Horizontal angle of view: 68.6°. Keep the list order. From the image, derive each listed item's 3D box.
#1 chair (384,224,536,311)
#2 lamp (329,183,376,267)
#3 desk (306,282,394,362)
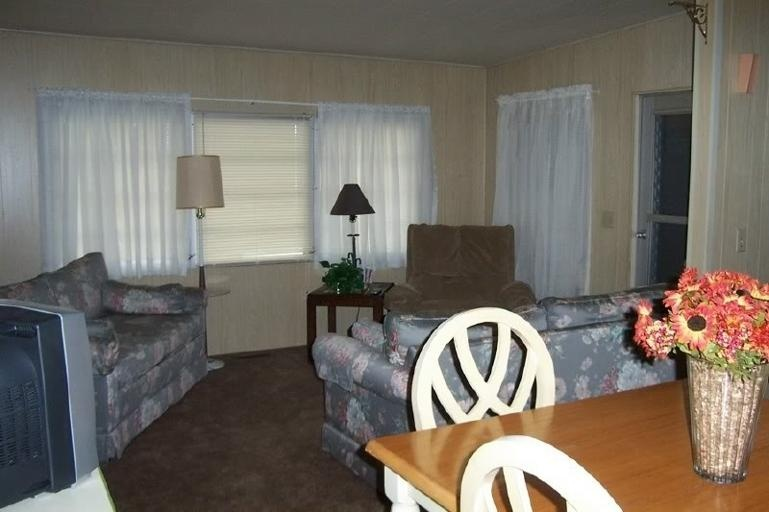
[{"bbox_3d":[0.765,0.136,5.722,1.059,1.333,0.987,0,-3,5],"label":"chair"},{"bbox_3d":[-0.331,-0.297,5.730,0.409,0.864,0.569,-2,10,-7],"label":"lamp"},{"bbox_3d":[-0.357,0.662,5.582,0.708,0.747,0.740,-1,1,3],"label":"desk"}]
